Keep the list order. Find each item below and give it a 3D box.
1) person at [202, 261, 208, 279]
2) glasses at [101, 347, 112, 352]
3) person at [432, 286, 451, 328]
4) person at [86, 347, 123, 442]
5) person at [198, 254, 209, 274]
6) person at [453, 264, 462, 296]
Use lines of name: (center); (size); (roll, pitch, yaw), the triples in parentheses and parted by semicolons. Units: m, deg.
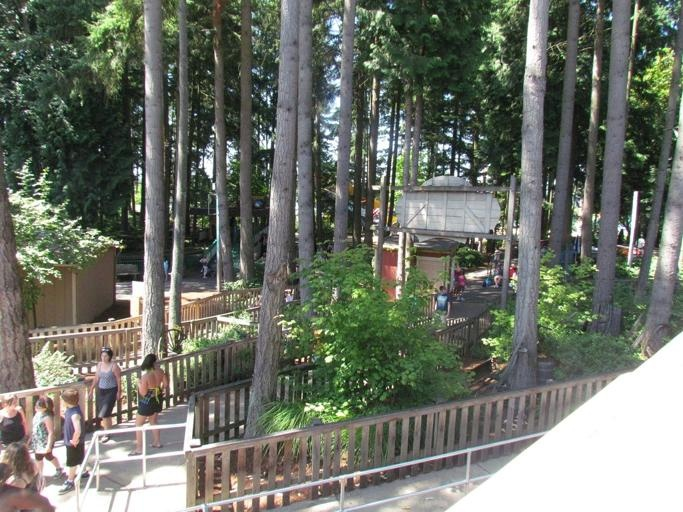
person: (-7.687, 0.802, 37.348); (0.385, 0.831, 1.429); (-1, 3, -12)
glasses: (-5.355, 2.149, 15.087); (0.196, 0.135, 0.190); (1, 3, -18)
person: (3.648, 1.923, 24.024); (0.524, 1.780, 0.358); (10, 22, 23)
person: (-5.418, 3.173, 15.205); (0.852, 2.131, 0.603); (2, 4, 41)
person: (-8.031, 0.519, 38.372); (0.474, 0.698, 1.523); (-12, -10, -17)
person: (5.461, 1.220, 30.892); (0.402, 1.141, 1.372); (0, 3, 10)
